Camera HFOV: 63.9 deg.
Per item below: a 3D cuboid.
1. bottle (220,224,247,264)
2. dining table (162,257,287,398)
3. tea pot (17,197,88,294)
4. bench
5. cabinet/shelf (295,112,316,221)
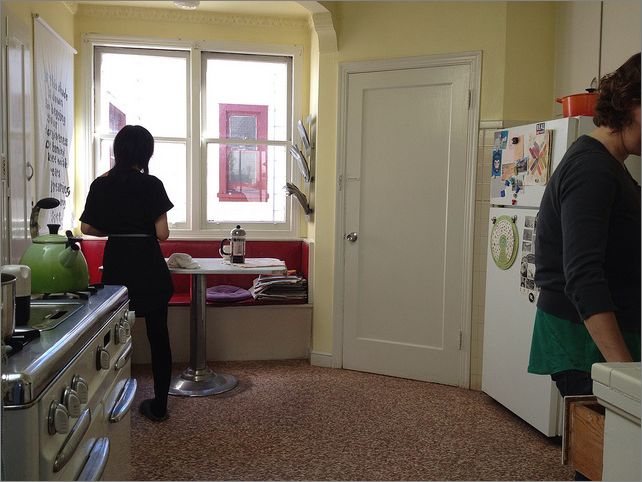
[{"bbox_3d":[-0.678,0.030,3.997,0.230,0.341,0.143,2,8,5],"label":"bottle"},{"bbox_3d":[-0.718,0.534,3.820,0.892,0.740,0.827,0,1,-6],"label":"dining table"},{"bbox_3d":[-0.914,0.027,1.776,0.219,0.353,0.314,0,2,-45],"label":"tea pot"},{"bbox_3d":[-1.031,0.527,4.251,0.680,1.200,2.093,-14,-13,42],"label":"bench"},{"bbox_3d":[-0.154,-0.489,4.419,0.103,0.602,0.464,-7,36,9],"label":"cabinet/shelf"}]
